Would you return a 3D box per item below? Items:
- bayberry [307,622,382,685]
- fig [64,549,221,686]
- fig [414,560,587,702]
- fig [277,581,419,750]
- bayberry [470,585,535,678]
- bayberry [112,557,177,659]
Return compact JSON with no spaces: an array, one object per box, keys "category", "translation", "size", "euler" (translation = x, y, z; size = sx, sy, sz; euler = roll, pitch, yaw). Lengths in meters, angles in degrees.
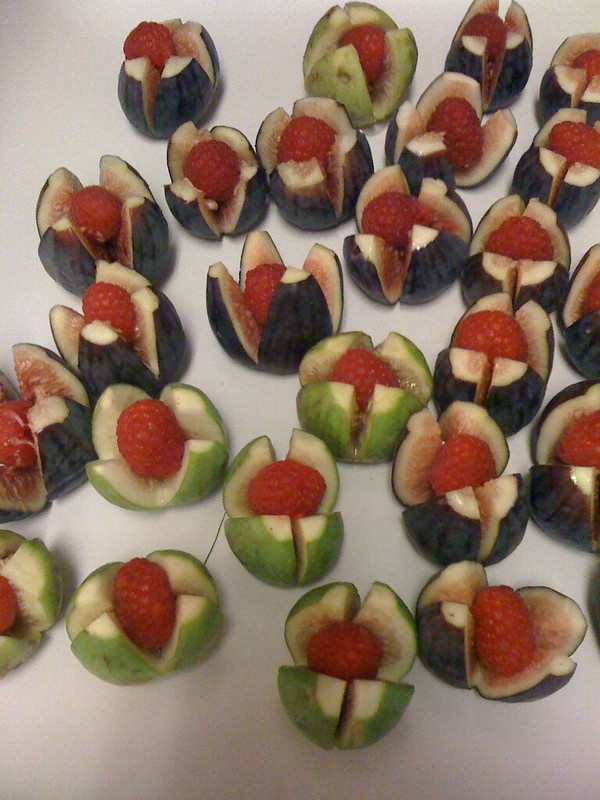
[{"category":"bayberry","translation":[0.073,0.421,1.312],"size":[0.100,0.090,0.125],"euler":[-15,27,-28]},{"category":"fig","translation":[-0.261,0.372,1.406],"size":[0.259,0.157,0.249],"euler":[12,48,9]},{"category":"fig","translation":[0.336,0.408,1.354],"size":[0.289,0.130,0.240],"euler":[-5,79,8]},{"category":"fig","translation":[0.085,0.443,1.403],"size":[0.255,0.153,0.288],"euler":[5,78,-3]},{"category":"bayberry","translation":[0.337,0.390,1.324],"size":[0.109,0.083,0.143],"euler":[-5,91,16]},{"category":"bayberry","translation":[-0.272,0.369,1.406],"size":[0.106,0.137,0.130],"euler":[-23,51,-17]}]
